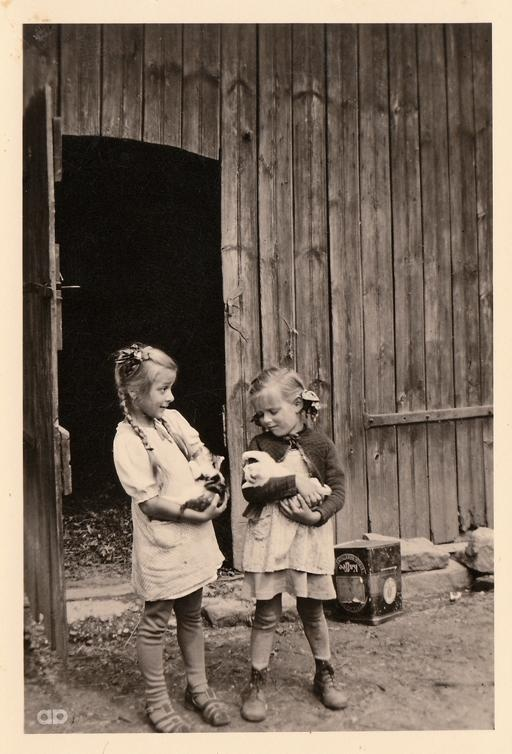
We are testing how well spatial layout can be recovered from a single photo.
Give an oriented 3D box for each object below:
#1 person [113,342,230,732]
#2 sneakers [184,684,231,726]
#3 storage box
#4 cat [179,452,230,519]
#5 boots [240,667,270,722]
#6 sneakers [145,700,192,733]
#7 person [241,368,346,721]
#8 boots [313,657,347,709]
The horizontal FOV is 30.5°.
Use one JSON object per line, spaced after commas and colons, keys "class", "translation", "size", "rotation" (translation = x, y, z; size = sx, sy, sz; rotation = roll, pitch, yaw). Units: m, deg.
{"class": "person", "translation": [-0.328, 0.598, 3.654], "size": [0.430, 1.457, 0.370], "rotation": [-1, 3, -9]}
{"class": "sneakers", "translation": [-0.192, 1.252, 3.664], "size": [0.193, 0.095, 0.088], "rotation": [13, 10, 42]}
{"class": "storage box", "translation": [0.534, 0.947, 4.432], "size": [0.292, 0.369, 0.298], "rotation": [-3, -1, -31]}
{"class": "cat", "translation": [-0.198, 0.410, 3.708], "size": [0.129, 0.285, 0.094], "rotation": [11, -22, -13]}
{"class": "boots", "translation": [-0.013, 1.221, 3.650], "size": [0.098, 0.197, 0.079], "rotation": [-1, 3, -1]}
{"class": "sneakers", "translation": [-0.348, 1.261, 3.576], "size": [0.078, 0.107, 0.213], "rotation": [-3, -1, -43]}
{"class": "person", "translation": [0.148, 0.638, 3.766], "size": [0.403, 1.333, 0.413], "rotation": [0, 3, 6]}
{"class": "boots", "translation": [0.282, 1.212, 3.772], "size": [0.080, 0.172, 0.226], "rotation": [-3, 5, -22]}
